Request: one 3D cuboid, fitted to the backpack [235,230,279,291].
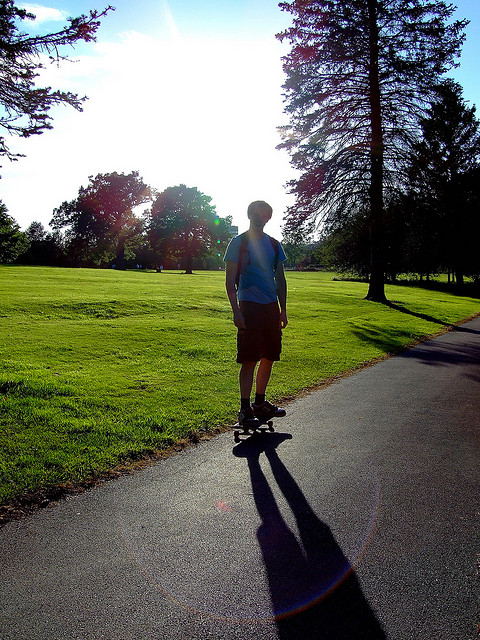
[{"bbox_3d":[0.169,-0.576,4.623,0.489,0.564,0.107,-1,4,-34],"label":"backpack"}]
